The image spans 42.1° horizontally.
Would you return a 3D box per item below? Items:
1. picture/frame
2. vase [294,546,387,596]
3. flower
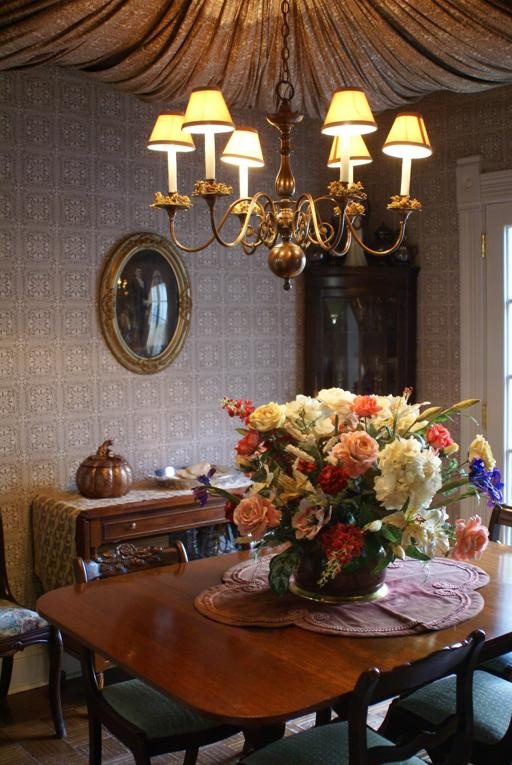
[{"bbox_3d":[-0.655,-0.460,3.807,0.080,0.998,0.861,2,3,39],"label":"picture/frame"},{"bbox_3d":[0.205,0.503,1.711,0.186,0.110,0.178,-1,1,17],"label":"vase"},{"bbox_3d":[0.244,0.269,1.718,0.659,0.433,0.620,4,-6,-36],"label":"flower"}]
